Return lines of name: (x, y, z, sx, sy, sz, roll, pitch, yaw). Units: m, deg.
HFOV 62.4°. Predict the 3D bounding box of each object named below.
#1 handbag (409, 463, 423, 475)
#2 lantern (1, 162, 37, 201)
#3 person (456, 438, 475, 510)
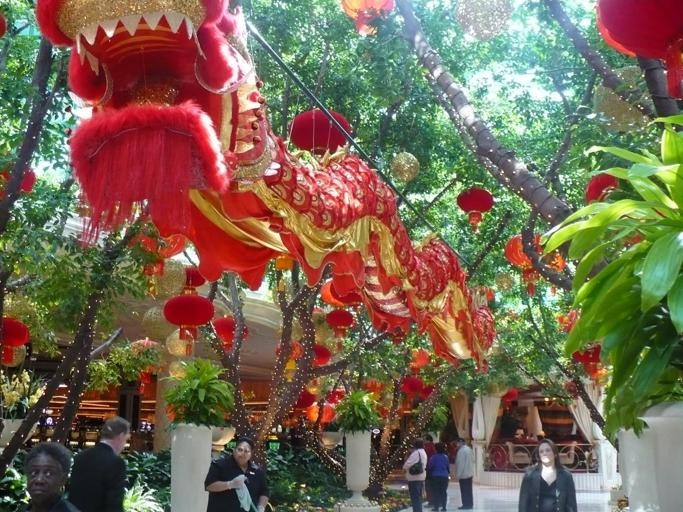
handbag: (1.453, 4.165, 11.009, 0.165, 0.237, 0.242, -7, -28, -2)
lantern: (-3.038, -0.690, 5.271, 0.298, 0.391, 0.147, 4, -56, 17)
person: (2.817, 5.052, 12.887, 0.339, 1.399, 0.463, -3, -24, 12)
